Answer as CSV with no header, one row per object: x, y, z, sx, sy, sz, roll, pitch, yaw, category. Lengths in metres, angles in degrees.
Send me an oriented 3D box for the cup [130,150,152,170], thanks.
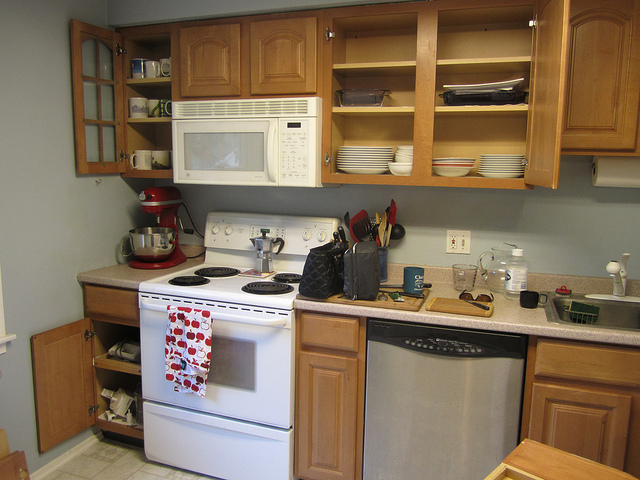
-1.133,-0.509,3.286,0.091,0.124,0.144,11,12,43,cup

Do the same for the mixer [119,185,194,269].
-1.041,-0.111,3.338,0.303,0.510,0.447,4,11,23,mixer

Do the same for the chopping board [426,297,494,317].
0.706,0.328,2.612,0.318,0.036,0.217,5,10,20,chopping board

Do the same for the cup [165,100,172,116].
-0.947,-0.831,3.245,0.041,0.089,0.024,6,11,26,cup

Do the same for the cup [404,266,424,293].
0.506,0.212,2.798,0.103,0.130,0.071,3,10,7,cup

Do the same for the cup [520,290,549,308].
1.092,0.293,2.661,0.142,0.091,0.084,4,10,27,cup

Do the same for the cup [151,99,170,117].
-1.006,-0.837,3.253,0.128,0.129,0.075,0,3,15,cup

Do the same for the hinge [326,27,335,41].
0.050,-1.115,2.791,0.056,0.084,0.022,3,3,19,hinge

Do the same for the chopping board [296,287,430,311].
0.241,0.300,2.711,0.731,0.030,0.332,2,10,-1,chopping board

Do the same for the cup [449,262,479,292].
0.813,0.201,2.940,0.165,0.139,0.227,5,10,17,cup

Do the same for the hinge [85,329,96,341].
-1.382,0.572,3.113,0.055,0.044,0.018,9,4,-27,hinge

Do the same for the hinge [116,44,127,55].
-1.225,-1.185,3.194,0.017,0.050,0.053,4,10,35,hinge

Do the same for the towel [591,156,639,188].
1.507,-0.351,2.637,0.228,0.154,0.149,4,29,21,towel

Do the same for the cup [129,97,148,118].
-1.144,-0.844,3.275,0.113,0.122,0.126,-1,11,-15,cup

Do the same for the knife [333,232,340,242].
0.095,-0.021,3.032,0.032,0.057,0.014,-4,0,1,knife

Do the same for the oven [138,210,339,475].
-0.488,0.598,3.067,0.985,1.448,0.808,5,10,19,oven

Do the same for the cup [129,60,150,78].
-1.145,-1.091,3.302,0.104,0.102,0.105,0,13,0,cup

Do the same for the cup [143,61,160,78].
-1.053,-1.081,3.248,0.103,0.089,0.082,7,13,26,cup

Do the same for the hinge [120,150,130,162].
-1.229,-0.540,3.250,0.062,0.062,0.045,2,1,-3,hinge

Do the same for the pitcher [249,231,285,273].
-0.337,0.087,3.113,0.246,0.283,0.156,0,4,-14,pitcher

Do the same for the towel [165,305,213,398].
-0.695,0.592,2.759,0.273,0.468,0.088,6,11,27,towel

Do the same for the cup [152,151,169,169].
-1.007,-0.522,3.360,0.134,0.131,0.098,6,11,16,cup

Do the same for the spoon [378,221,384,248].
0.346,-0.038,2.921,0.026,0.130,0.014,-5,-7,35,spoon

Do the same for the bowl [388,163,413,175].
0.437,-0.394,2.828,0.143,0.064,0.060,5,10,17,bowl

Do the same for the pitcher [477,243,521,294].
0.994,0.152,2.933,0.282,0.272,0.211,1,3,18,pitcher

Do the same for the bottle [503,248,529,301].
1.056,0.175,2.790,0.112,0.265,0.217,5,10,19,bottle

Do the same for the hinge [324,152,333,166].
0.048,-0.460,2.893,0.049,0.066,0.016,-6,12,-38,hinge

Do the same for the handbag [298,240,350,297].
0.027,0.191,2.848,0.166,0.248,0.446,4,-6,15,handbag

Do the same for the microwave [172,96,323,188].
-0.423,-0.572,3.098,0.876,0.474,0.319,2,8,15,microwave
